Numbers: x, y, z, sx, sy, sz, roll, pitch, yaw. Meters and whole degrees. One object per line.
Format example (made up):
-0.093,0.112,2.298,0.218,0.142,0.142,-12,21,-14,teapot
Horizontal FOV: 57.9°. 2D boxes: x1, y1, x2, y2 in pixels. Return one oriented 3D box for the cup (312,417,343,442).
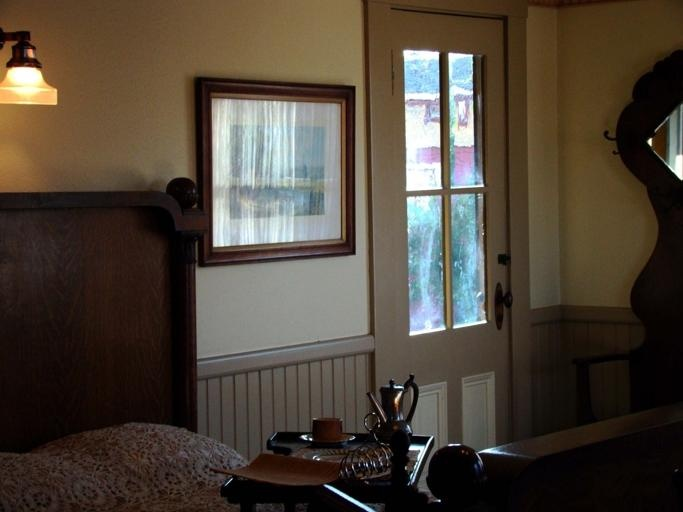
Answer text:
-0.055,0.681,2.440,0.096,0.073,0.077,3,-9,-21,cup
